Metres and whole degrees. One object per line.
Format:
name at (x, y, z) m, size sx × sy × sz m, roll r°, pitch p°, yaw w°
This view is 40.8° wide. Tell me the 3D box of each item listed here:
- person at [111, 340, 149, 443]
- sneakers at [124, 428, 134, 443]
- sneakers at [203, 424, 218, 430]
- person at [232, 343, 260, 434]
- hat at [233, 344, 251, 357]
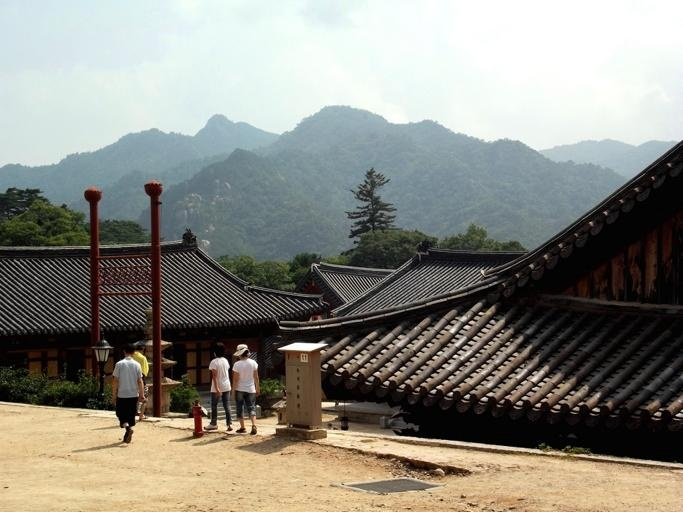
person at (-4.220, 2.686, 18.057) m, size 0.593 × 1.975 × 0.917 m, roll -6°, pitch 8°, yaw -15°
sneakers at (-4.204, 3.498, 18.033) m, size 0.151 × 0.349 × 0.148 m, roll 8°, pitch 8°, yaw 7°
sneakers at (-2.690, 3.487, 18.795) m, size 0.288 × 0.135 × 0.114 m, roll 2°, pitch -2°, yaw 5°
person at (-1.913, 2.622, 18.222) m, size 0.499 × 1.949 × 0.934 m, roll -5°, pitch 8°, yaw -8°
hat at (-1.949, 1.842, 17.856) m, size 0.223 × 0.302 × 0.433 m, roll -5°, pitch 8°, yaw -10°
